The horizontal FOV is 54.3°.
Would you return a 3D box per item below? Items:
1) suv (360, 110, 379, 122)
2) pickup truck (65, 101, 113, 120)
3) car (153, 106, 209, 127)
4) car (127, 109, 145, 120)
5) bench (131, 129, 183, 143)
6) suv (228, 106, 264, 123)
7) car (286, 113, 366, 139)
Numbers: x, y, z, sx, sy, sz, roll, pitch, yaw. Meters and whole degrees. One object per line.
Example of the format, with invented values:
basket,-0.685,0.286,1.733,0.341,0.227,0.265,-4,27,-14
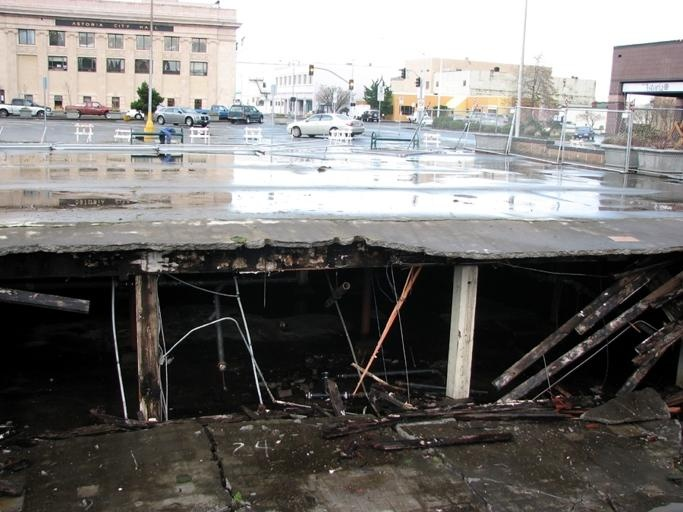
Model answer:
suv,2.773,-14.449,67.677,1.411,0.851,1.914,-2,21,-10
pickup truck,-20.305,-11.807,53.169,4.046,1.127,1.823,-6,18,-24
car,-11.936,-10.324,48.736,4.028,1.357,2.024,7,13,33
car,-16.726,-11.526,53.562,1.989,0.784,1.049,3,20,-8
bench,-9.136,-6.049,32.699,2.230,0.772,9.024,-2,11,-14
suv,-7.885,-11.827,54.776,1.517,1.000,2.700,14,21,38
car,-1.050,-8.173,41.187,4.921,1.227,1.962,4,15,8
